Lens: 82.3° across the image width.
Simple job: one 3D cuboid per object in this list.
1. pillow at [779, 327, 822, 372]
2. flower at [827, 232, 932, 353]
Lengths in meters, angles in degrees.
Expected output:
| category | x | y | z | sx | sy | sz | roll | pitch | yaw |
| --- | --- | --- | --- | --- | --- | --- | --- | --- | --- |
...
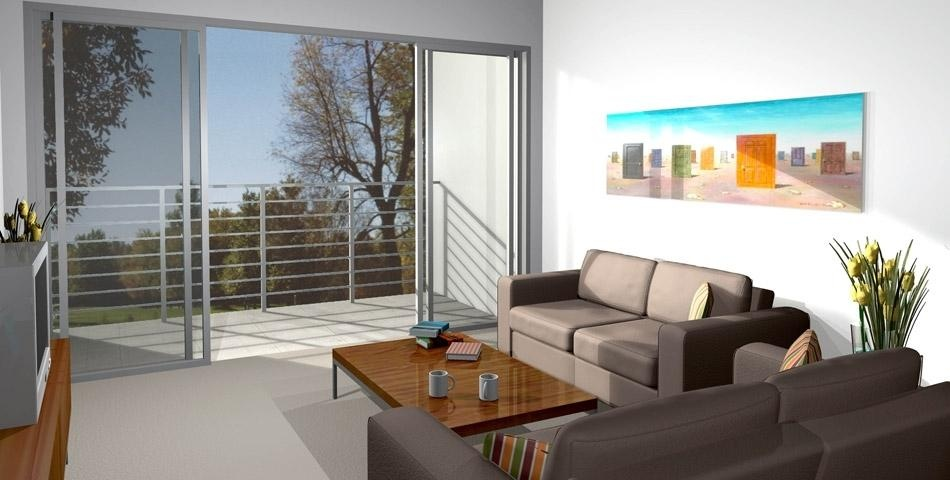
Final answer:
| category | x | y | z | sx | sy | sz | roll | pitch | yaw |
| --- | --- | --- | --- | --- | --- | --- | --- | --- | --- |
| pillow | 2.364 | 0.805 | 3.978 | 0.213 | 0.211 | 0.355 | 24 | 1 | 10 |
| flower | 3.410 | 0.456 | 4.603 | 0.754 | 0.981 | 1.057 | 4 | 11 | 30 |
